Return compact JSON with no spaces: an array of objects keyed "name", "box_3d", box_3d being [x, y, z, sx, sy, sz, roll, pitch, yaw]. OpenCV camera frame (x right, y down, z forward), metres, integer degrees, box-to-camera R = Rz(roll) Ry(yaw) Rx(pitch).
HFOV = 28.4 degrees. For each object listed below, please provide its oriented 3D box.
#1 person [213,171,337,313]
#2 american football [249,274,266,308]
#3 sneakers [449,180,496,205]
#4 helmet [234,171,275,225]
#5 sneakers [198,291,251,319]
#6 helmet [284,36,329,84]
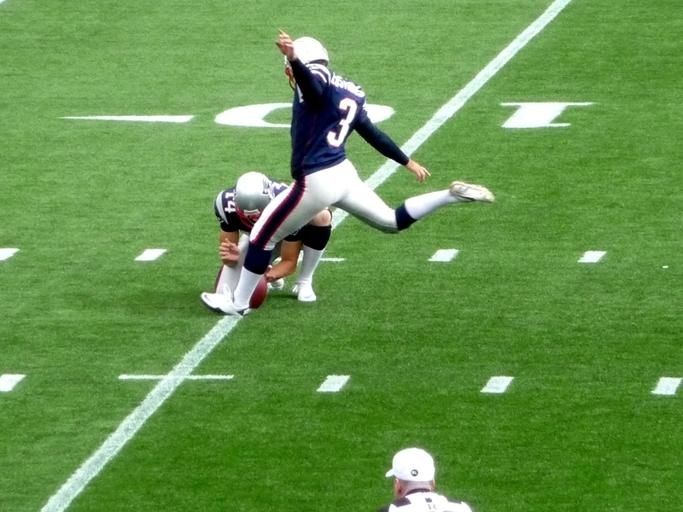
[{"name":"person","box_3d":[-0.559,-0.125,8.855,0.882,0.728,0.817,-9,108,-33]},{"name":"american football","box_3d":[-0.536,0.227,8.636,0.152,0.186,0.147,10,67,-5]},{"name":"sneakers","box_3d":[0.804,-0.393,8.352,0.250,0.138,0.078,10,96,5]},{"name":"helmet","box_3d":[-0.552,-0.408,8.701,0.306,0.345,0.283,-7,92,8]},{"name":"sneakers","box_3d":[-0.758,0.298,8.640,0.343,0.119,0.112,16,93,-6]},{"name":"helmet","box_3d":[-0.197,-1.247,8.285,0.169,0.167,0.251,-17,52,-3]}]
